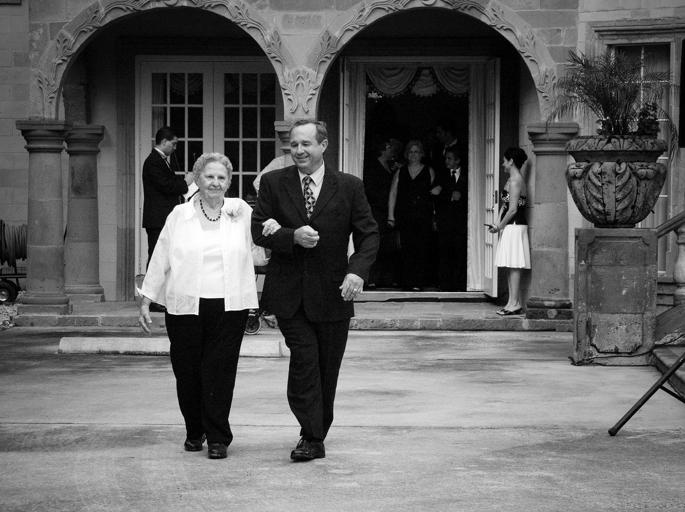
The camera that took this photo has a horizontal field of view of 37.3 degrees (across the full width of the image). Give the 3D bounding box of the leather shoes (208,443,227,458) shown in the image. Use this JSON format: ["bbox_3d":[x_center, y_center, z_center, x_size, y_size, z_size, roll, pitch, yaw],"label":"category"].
[{"bbox_3d":[-0.826,1.251,6.588,0.127,0.099,0.193,0,3,-8],"label":"leather shoes"}]

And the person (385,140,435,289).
[{"bbox_3d":[0.954,-0.649,15.380,0.813,2.197,0.433,-1,4,-34],"label":"person"}]

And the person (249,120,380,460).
[{"bbox_3d":[-0.197,0.217,6.596,0.809,2.160,0.439,1,3,-4],"label":"person"}]

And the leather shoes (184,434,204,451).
[{"bbox_3d":[-1.001,1.238,6.730,0.085,0.086,0.210,1,-9,-4],"label":"leather shoes"}]

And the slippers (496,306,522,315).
[{"bbox_3d":[2.162,0.699,12.906,0.159,0.074,0.214,-5,-8,37],"label":"slippers"}]

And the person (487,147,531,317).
[{"bbox_3d":[2.132,-0.327,12.958,0.522,2.128,0.615,1,3,8],"label":"person"}]

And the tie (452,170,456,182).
[{"bbox_3d":[1.657,-1.220,15.305,0.095,0.142,0.024,3,4,34],"label":"tie"}]

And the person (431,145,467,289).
[{"bbox_3d":[1.598,-0.574,15.342,0.516,2.126,0.363,2,3,26],"label":"person"}]

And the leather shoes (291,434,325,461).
[{"bbox_3d":[-0.246,1.240,6.470,0.103,0.121,0.258,-6,-11,29],"label":"leather shoes"}]
